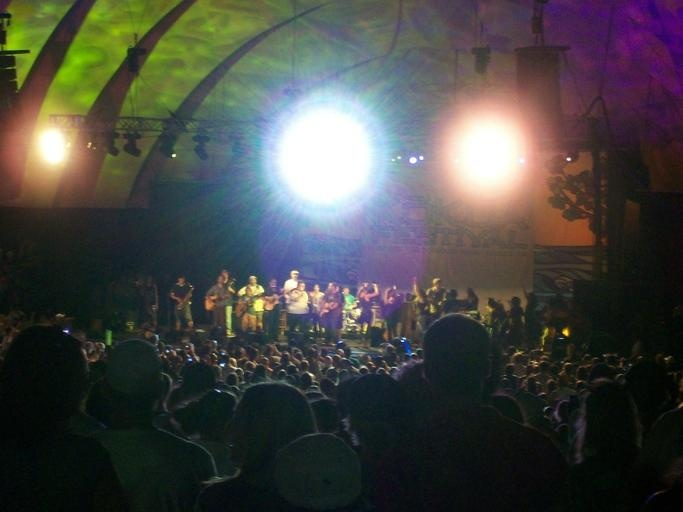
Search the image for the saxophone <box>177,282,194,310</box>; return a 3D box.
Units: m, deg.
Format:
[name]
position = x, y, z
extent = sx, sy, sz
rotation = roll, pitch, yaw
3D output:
[saxophone]
position = -4.035, 1.005, 18.267
extent = 0.438, 0.552, 0.212
rotation = 2, -3, 25
